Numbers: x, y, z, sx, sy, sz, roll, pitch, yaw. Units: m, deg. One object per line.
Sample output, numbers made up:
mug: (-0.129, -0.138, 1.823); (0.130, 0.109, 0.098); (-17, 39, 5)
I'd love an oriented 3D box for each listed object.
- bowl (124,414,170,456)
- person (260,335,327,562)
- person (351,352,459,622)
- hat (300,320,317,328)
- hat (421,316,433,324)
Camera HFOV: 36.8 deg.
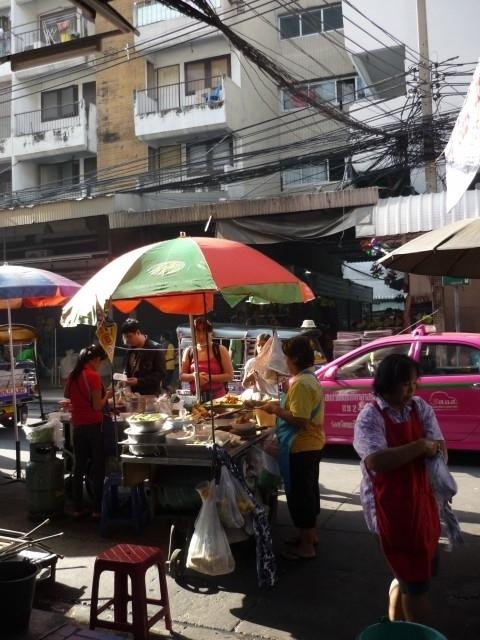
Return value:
bowl: (-0.723, 0.876, 5.496); (0.303, 0.214, 0.293); (0, -5, 0)
person: (0.393, 0.949, 5.280); (0.426, 1.607, 0.275); (-1, 2, 5)
person: (0.856, 0.836, 3.694); (0.532, 1.296, 0.364); (-1, 2, 2)
hat: (1.105, 0.109, 11.808); (0.218, 0.158, 0.221); (-3, -2, 16)
hat: (3.120, 0.018, 12.122); (0.167, 0.143, 0.315); (-1, 3, 10)
